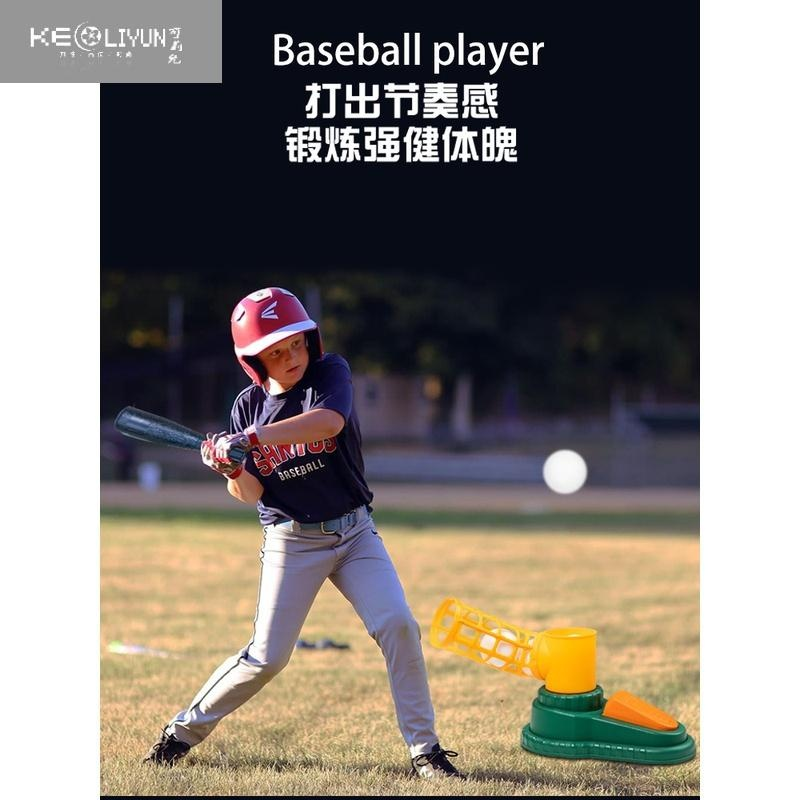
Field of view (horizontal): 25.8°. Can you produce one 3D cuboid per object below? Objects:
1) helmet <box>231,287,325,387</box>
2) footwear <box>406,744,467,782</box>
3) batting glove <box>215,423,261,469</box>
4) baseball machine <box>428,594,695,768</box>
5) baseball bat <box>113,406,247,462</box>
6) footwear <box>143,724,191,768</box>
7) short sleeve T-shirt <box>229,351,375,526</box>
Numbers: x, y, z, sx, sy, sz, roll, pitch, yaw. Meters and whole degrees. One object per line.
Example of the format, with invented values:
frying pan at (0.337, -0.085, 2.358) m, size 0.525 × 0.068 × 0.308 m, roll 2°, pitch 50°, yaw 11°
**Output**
helmet at (-0.680, -0.382, 9.090) m, size 0.429 × 0.450 × 0.501 m, roll -21°, pitch 24°, yaw -20°
footwear at (0.202, 1.841, 8.826) m, size 0.142 × 0.125 × 0.276 m, roll 5°, pitch -13°, yaw -27°
batting glove at (-0.821, 0.234, 8.592) m, size 0.218 × 0.191 × 0.139 m, roll -3°, pitch 11°, yaw -15°
baseball machine at (0.924, 1.537, 9.328) m, size 1.695 × 0.881 × 0.666 m, roll -1°, pitch 1°, yaw 21°
baseball bat at (-1.361, 0.190, 10.618) m, size 0.954 × 0.230 × 0.218 m, roll 14°, pitch 4°, yaw 10°
footwear at (-1.225, 1.825, 9.118) m, size 0.180 × 0.137 × 0.111 m, roll -30°, pitch 42°, yaw 18°
short sleeve T-shirt at (-0.531, 0.190, 9.077) m, size 0.753 × 0.888 × 0.582 m, roll -3°, pitch 22°, yaw 14°
